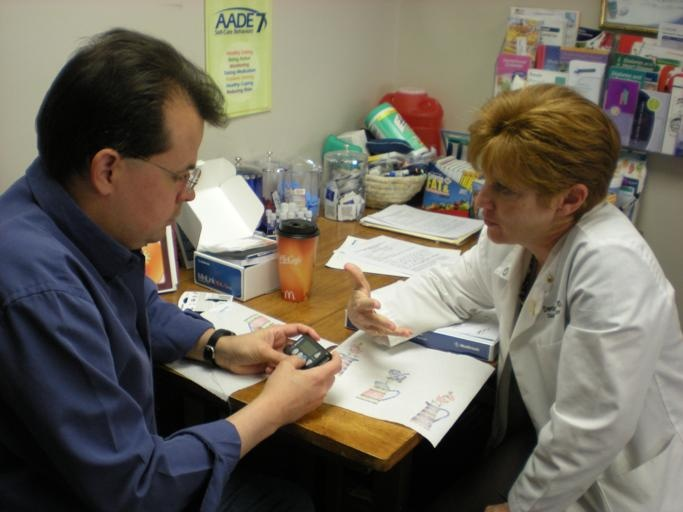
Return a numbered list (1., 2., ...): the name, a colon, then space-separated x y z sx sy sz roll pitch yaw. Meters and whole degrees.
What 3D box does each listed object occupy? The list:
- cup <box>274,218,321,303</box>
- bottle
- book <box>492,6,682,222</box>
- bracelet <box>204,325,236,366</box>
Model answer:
1. cup: -0.135 0.010 1.550 0.133 0.221 0.136 2 13 -1
2. bottle: -0.156 -0.274 1.982 0.304 0.219 0.117 -8 25 -21
3. book: 1.023 -0.697 2.201 0.617 0.983 0.287 6 -15 6
4. bracelet: -0.305 0.213 1.248 0.052 0.094 0.090 8 -4 40
